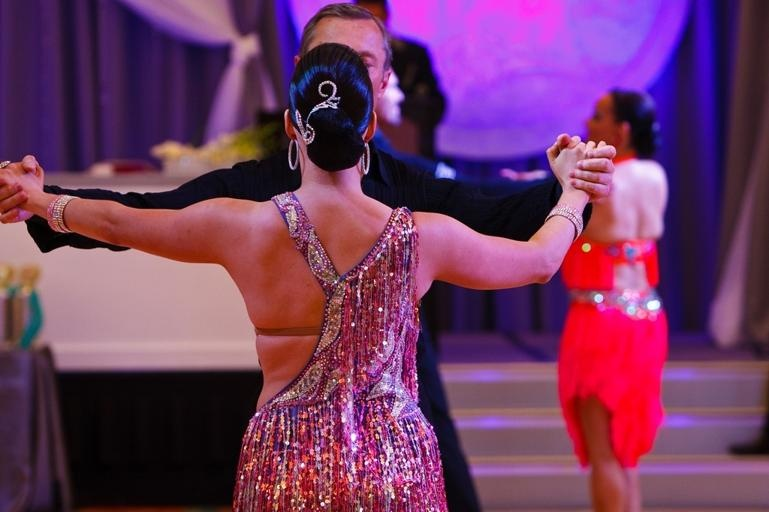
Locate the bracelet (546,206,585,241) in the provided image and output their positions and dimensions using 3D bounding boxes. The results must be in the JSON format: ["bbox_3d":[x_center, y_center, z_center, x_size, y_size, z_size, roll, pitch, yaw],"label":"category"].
[{"bbox_3d":[1.049,-0.222,5.937,0.177,0.207,0.202,4,31,21],"label":"bracelet"}]

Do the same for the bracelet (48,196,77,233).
[{"bbox_3d":[-1.817,-0.251,5.802,0.185,0.192,0.166,1,0,12],"label":"bracelet"}]
